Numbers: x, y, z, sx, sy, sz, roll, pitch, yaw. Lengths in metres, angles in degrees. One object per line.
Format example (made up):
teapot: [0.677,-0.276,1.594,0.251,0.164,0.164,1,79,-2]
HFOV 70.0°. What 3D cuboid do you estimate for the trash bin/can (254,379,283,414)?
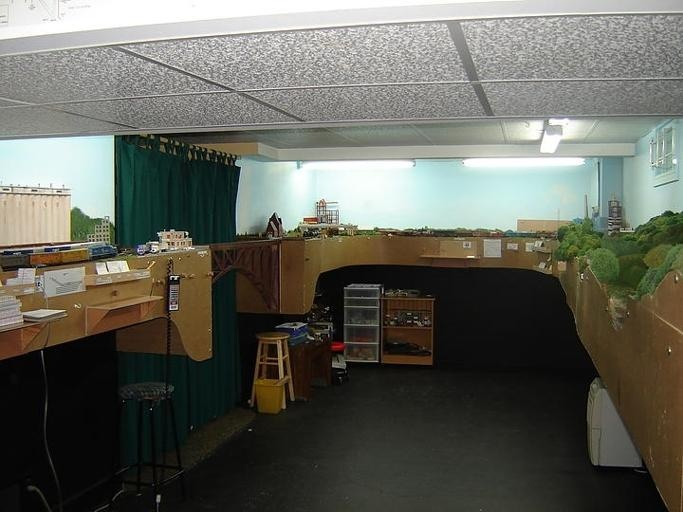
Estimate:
trash bin/can: [-1.078,2.090,7.399,0.520,0.443,0.429,0,-7,2]

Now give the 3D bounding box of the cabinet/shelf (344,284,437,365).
cabinet/shelf: [1.037,1.470,10.224,1.576,1.410,0.566,1,-4,4]

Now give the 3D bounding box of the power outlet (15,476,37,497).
power outlet: [-2.468,1.805,3.788,0.130,0.136,0.052,12,5,24]

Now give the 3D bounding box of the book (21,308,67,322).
book: [-1.409,0.275,2.320,0.115,0.045,0.191,1,3,23]
